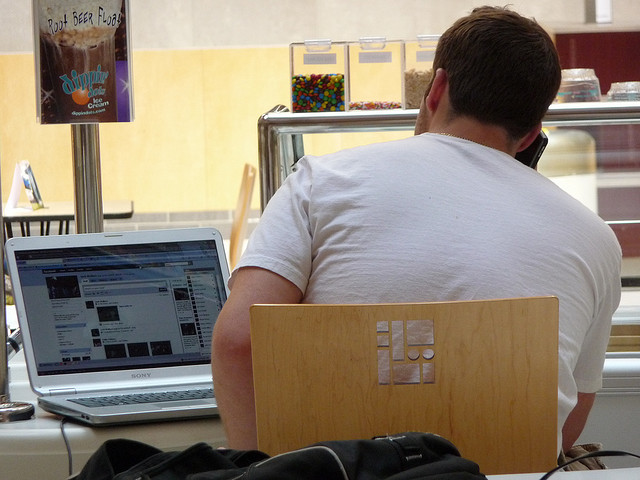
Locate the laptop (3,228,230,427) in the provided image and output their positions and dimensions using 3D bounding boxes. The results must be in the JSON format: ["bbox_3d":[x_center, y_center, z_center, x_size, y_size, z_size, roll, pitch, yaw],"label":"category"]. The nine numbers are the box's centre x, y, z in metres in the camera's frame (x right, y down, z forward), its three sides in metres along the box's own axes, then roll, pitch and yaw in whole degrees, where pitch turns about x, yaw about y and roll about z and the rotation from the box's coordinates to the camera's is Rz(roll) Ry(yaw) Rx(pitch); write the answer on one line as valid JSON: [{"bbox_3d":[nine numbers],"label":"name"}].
[{"bbox_3d":[-0.489,0.184,1.714,0.526,0.373,0.454,-2,7,-19],"label":"laptop"}]
